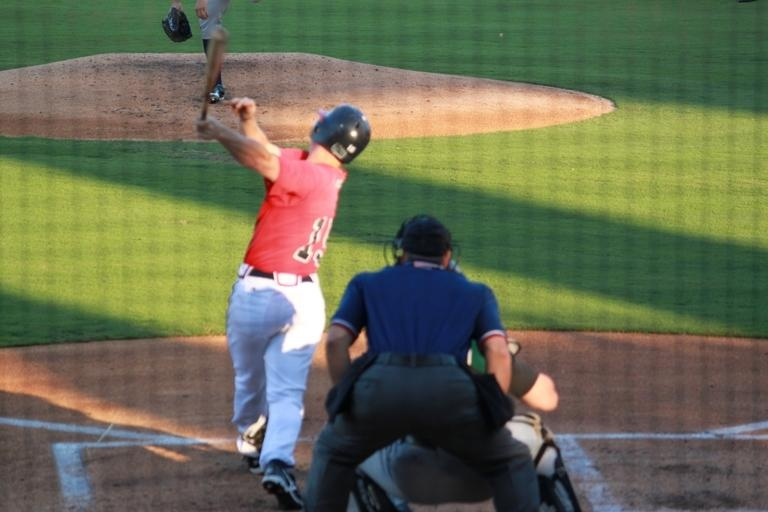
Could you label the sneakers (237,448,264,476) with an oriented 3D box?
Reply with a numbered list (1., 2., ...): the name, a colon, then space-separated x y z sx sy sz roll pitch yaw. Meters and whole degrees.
1. sneakers: -1.421 2.250 14.550 0.202 0.156 0.305 -2 27 -6
